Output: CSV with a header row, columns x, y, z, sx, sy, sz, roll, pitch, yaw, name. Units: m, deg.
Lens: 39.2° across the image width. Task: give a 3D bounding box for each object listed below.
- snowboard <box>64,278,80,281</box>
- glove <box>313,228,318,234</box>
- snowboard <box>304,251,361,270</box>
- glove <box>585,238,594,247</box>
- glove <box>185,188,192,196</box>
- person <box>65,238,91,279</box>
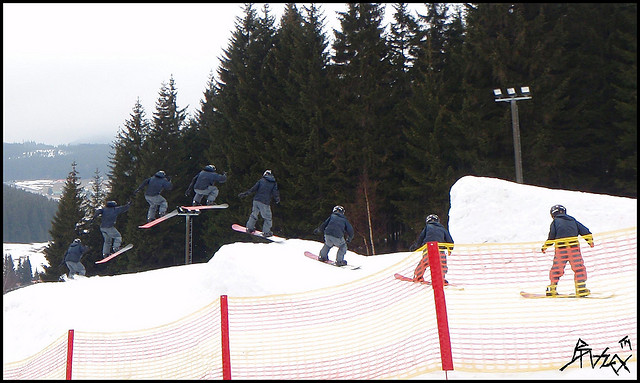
x,y,z,sx,sy,sz,roll,pitch,yaw,name
-17.448,6.200,63.314,0.953,0.144,0.071,5,-6,20,snowboard
-0.263,2.671,59.297,0.284,0.441,0.273,-1,-3,1,glove
0.729,4.657,59.978,3.227,0.556,0.347,16,1,18,snowboard
16.280,3.095,54.235,0.500,0.477,0.564,-1,1,16,glove
-10.359,0.050,70.700,0.341,0.303,0.844,20,-6,-15,glove
-17.294,4.785,63.529,1.385,2.275,0.747,-1,1,-12,person
